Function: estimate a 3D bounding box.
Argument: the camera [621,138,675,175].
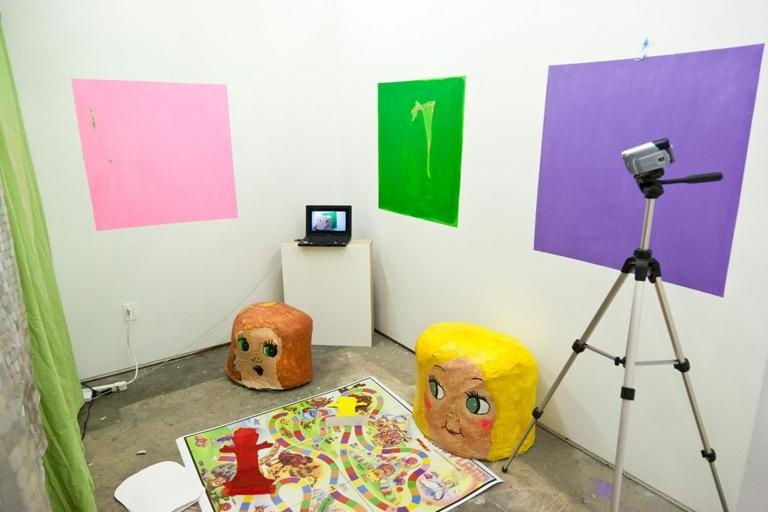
[{"bbox_3d":[1.341,-0.529,2.612,0.238,0.173,0.165,-19,25,17],"label":"camera"}]

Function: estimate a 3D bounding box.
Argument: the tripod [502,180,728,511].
[{"bbox_3d":[1.420,0.524,2.883,0.724,2.021,1.137,-12,20,-42],"label":"tripod"}]

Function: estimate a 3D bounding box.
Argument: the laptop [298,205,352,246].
[{"bbox_3d":[-0.503,-0.295,4.567,0.493,0.371,0.353,2,6,5],"label":"laptop"}]

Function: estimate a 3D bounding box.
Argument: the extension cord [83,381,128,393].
[{"bbox_3d":[-2.202,1.019,3.988,0.304,0.061,0.160,-5,16,-25],"label":"extension cord"}]

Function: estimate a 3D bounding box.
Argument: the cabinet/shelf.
[{"bbox_3d":[-0.505,0.306,4.436,0.908,1.108,0.349,0,9,6],"label":"cabinet/shelf"}]
